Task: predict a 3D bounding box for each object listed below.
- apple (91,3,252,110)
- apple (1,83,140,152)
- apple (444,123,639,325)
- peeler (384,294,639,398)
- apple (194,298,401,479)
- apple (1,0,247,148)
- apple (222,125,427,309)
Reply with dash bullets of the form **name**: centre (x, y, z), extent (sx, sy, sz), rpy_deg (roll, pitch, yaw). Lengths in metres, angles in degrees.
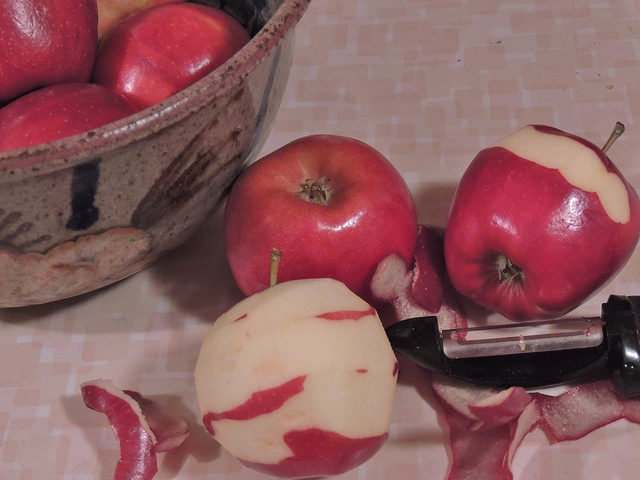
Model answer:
- **apple**: centre (-0.136, -0.166, 0.613), extent (0.111, 0.066, 0.129), rpy_deg (3, 55, 10)
- **apple**: centre (-0.194, -0.098, 0.544), extent (0.082, 0.050, 0.067), rpy_deg (-18, 24, 12)
- **apple**: centre (0.200, -0.009, 0.622), extent (0.158, 0.122, 0.151), rpy_deg (21, 69, 11)
- **peeler**: centre (0.147, 0.105, 0.632), extent (0.252, 0.088, 0.094), rpy_deg (-2, 40, 1)
- **apple**: centre (-0.019, 0.115, 0.529), extent (0.157, 0.069, 0.128), rpy_deg (3, 67, 3)
- **apple**: centre (-0.159, -0.112, 0.584), extent (0.140, 0.091, 0.163), rpy_deg (3, 25, 38)
- **apple**: centre (0.013, -0.032, 0.656), extent (0.173, 0.174, 0.147), rpy_deg (-14, 94, 4)
